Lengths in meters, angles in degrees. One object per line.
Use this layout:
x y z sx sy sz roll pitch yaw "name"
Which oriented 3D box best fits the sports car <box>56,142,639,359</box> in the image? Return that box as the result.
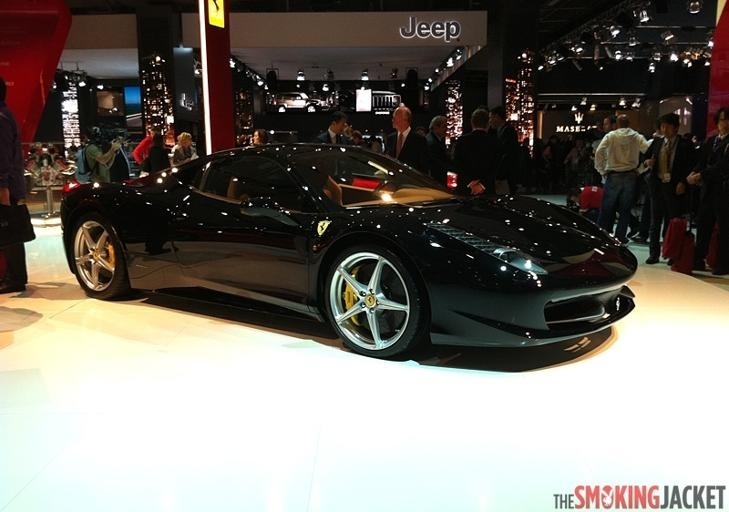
-0.332 -0.114 3.705 3.832 0.906 1.838 6 12 25 "sports car"
